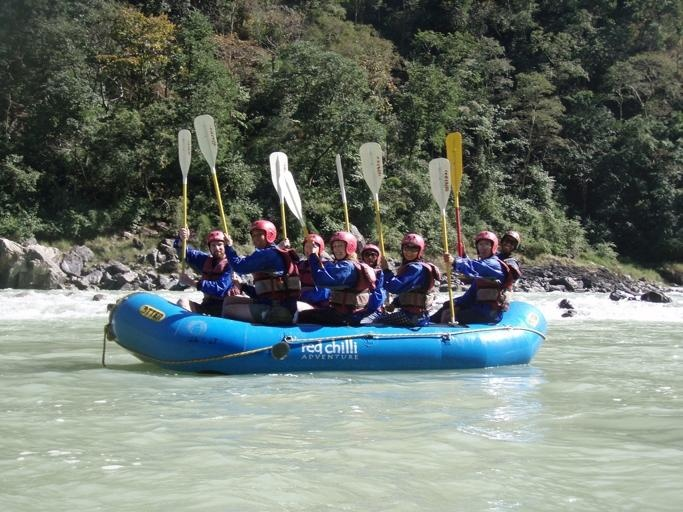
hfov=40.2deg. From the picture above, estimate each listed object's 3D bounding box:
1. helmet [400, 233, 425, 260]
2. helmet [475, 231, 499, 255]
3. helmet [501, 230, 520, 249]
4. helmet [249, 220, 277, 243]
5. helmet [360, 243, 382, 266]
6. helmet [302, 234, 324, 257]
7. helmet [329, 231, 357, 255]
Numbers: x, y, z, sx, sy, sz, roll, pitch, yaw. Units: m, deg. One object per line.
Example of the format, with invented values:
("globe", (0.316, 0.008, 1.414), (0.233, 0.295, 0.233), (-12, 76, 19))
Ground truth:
("helmet", (1.497, -0.199, 19.262), (0.394, 0.476, 0.519), (0, -4, 9))
("helmet", (3.045, -0.303, 19.653), (0.431, 0.426, 0.550), (-5, -7, 16))
("helmet", (3.636, -0.341, 20.090), (0.352, 0.434, 0.464), (20, 2, 7))
("helmet", (-1.530, -0.517, 19.034), (0.499, 0.395, 0.394), (-15, 12, -10))
("helmet", (0.638, -0.003, 19.546), (0.349, 0.438, 0.465), (1, -13, 1))
("helmet", (-0.521, -0.214, 18.742), (0.345, 0.365, 0.458), (-7, -17, 22))
("helmet", (0.051, -0.281, 18.866), (0.535, 0.414, 0.412), (27, -20, -32))
